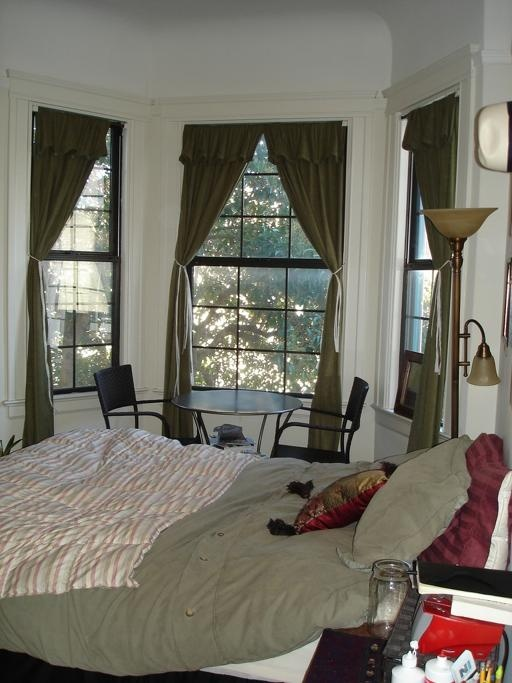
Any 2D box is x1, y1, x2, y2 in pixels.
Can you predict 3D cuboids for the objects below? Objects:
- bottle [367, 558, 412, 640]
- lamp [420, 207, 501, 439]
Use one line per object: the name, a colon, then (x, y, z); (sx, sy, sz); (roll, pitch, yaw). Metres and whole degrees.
bottle: (0.271, 0.535, 1.152); (0.079, 0.162, 0.078); (3, 8, 0)
lamp: (0.921, 0.004, 2.532); (0.324, 1.166, 0.390); (-22, 24, -34)
